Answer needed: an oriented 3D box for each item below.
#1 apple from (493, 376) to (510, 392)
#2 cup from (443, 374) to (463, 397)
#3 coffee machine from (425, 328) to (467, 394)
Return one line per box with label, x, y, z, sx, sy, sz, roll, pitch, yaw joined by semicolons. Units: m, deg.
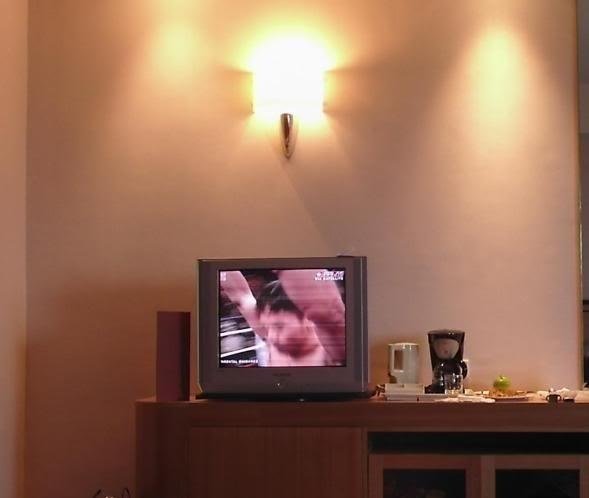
apple;0.932;0.614;3.012;0.060;0.064;0.062;-1;-5;-10
cup;0.711;0.604;2.930;0.088;0.105;0.092;-1;-5;0
coffee machine;0.695;0.511;3.019;0.213;0.325;0.258;-2;-18;11
